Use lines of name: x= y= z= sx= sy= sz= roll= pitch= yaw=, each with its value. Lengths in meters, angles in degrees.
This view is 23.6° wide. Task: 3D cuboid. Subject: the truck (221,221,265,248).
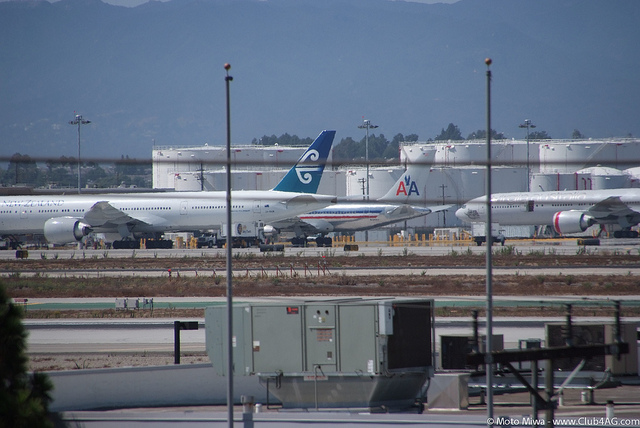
truck: x=-6.247 y=1.373 z=126.683 sx=3.529 sy=1.944 sz=2.085 roll=-1 pitch=1 yaw=6

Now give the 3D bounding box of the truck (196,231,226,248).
truck: x=-9.322 y=1.831 z=132.104 sx=1.511 sy=0.976 sz=2.151 roll=-2 pitch=-5 yaw=21

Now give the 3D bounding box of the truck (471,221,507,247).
truck: x=14.321 y=1.655 z=130.765 sx=4.401 sy=2.716 sz=2.561 roll=-1 pitch=1 yaw=8

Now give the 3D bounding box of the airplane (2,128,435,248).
airplane: x=-7.300 y=-1.490 z=130.069 sx=43.716 sy=10.032 sz=13.116 roll=0 pitch=-1 yaw=-5
